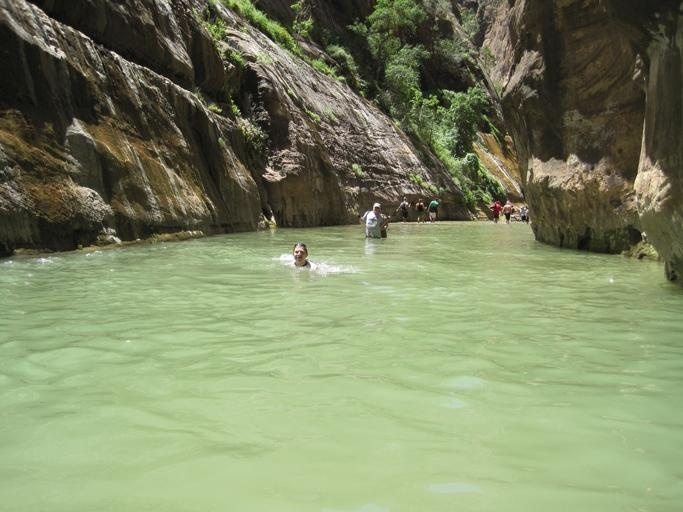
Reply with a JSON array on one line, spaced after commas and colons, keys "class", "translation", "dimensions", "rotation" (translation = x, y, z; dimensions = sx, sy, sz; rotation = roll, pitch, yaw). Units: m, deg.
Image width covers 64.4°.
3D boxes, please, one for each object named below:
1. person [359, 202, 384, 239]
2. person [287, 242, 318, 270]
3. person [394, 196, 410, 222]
[{"class": "person", "translation": [0.996, -1.135, 17.898], "dimensions": [0.642, 0.490, 1.495], "rotation": [3, -39, -3]}, {"class": "person", "translation": [-0.656, -0.018, 9.696], "dimensions": [0.423, 0.446, 0.706], "rotation": [-1, 10, -5]}, {"class": "person", "translation": [3.725, -2.759, 32.646], "dimensions": [0.707, 1.551, 2.314], "rotation": [1, 10, 6]}]
